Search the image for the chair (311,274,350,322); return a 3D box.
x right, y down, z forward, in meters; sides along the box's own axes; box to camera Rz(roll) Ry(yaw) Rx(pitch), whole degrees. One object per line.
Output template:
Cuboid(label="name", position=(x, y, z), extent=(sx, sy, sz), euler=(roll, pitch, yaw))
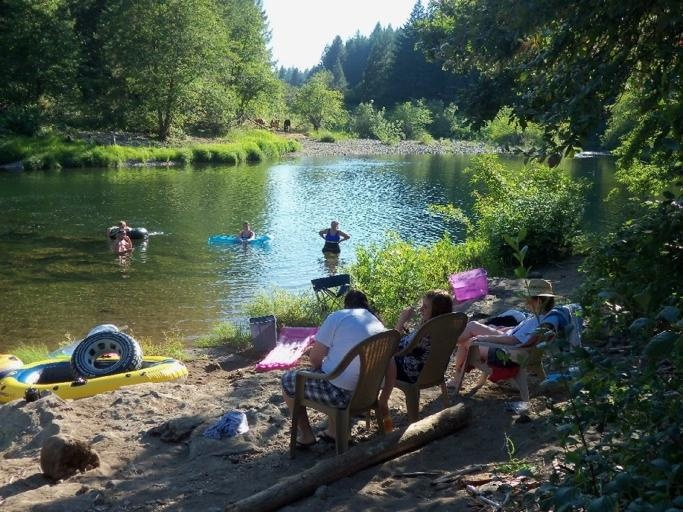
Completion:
Cuboid(label="chair", position=(-0.179, 0.692, 10.353), extent=(0.597, 0.812, 0.574), euler=(-7, 28, -22))

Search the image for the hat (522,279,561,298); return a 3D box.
Cuboid(label="hat", position=(2.482, 0.423, 8.055), extent=(0.511, 0.197, 0.484), euler=(1, -5, -8))

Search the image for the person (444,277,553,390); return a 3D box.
Cuboid(label="person", position=(1.919, 1.008, 7.773), extent=(1.231, 1.500, 0.859), euler=(3, 11, 24))

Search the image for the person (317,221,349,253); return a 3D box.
Cuboid(label="person", position=(-0.273, -0.577, 18.481), extent=(0.709, 0.974, 1.147), euler=(-5, 12, -2))

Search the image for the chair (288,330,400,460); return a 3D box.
Cuboid(label="chair", position=(0.006, 1.478, 7.039), extent=(1.116, 1.385, 1.155), euler=(-2, 5, -24))

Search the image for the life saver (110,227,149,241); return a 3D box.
Cuboid(label="life saver", position=(-6.423, -0.623, 19.585), extent=(0.832, 0.262, 0.406), euler=(4, 22, -24))

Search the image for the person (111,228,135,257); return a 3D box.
Cuboid(label="person", position=(-6.211, -0.383, 18.385), extent=(0.530, 0.297, 0.989), euler=(-3, 43, -22))

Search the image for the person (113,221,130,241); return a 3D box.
Cuboid(label="person", position=(-6.544, -0.712, 19.298), extent=(0.385, 0.384, 1.146), euler=(21, 5, -22))

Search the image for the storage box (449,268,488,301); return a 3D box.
Cuboid(label="storage box", position=(2.266, 0.543, 11.509), extent=(0.475, 0.437, 0.675), euler=(-16, 8, -21))

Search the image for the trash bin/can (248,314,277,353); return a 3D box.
Cuboid(label="trash bin/can", position=(-1.345, 1.304, 10.810), extent=(0.502, 0.575, 0.444), euler=(-3, 19, 1))

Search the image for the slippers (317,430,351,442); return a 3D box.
Cuboid(label="slippers", position=(-0.072, 1.918, 6.831), extent=(0.212, 0.064, 0.212), euler=(4, 0, -35))

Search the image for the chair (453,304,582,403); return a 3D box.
Cuboid(label="chair", position=(2.048, 1.110, 7.721), extent=(1.405, 1.045, 1.169), euler=(-2, 3, 29))
